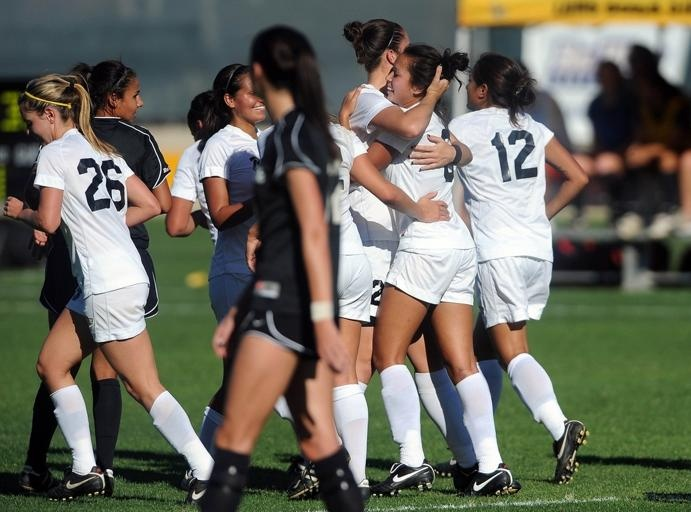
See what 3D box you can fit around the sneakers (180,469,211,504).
[{"bbox_3d":[-1.183,1.818,8.169,0.206,0.299,0.649,3,0,-6],"label":"sneakers"}]
